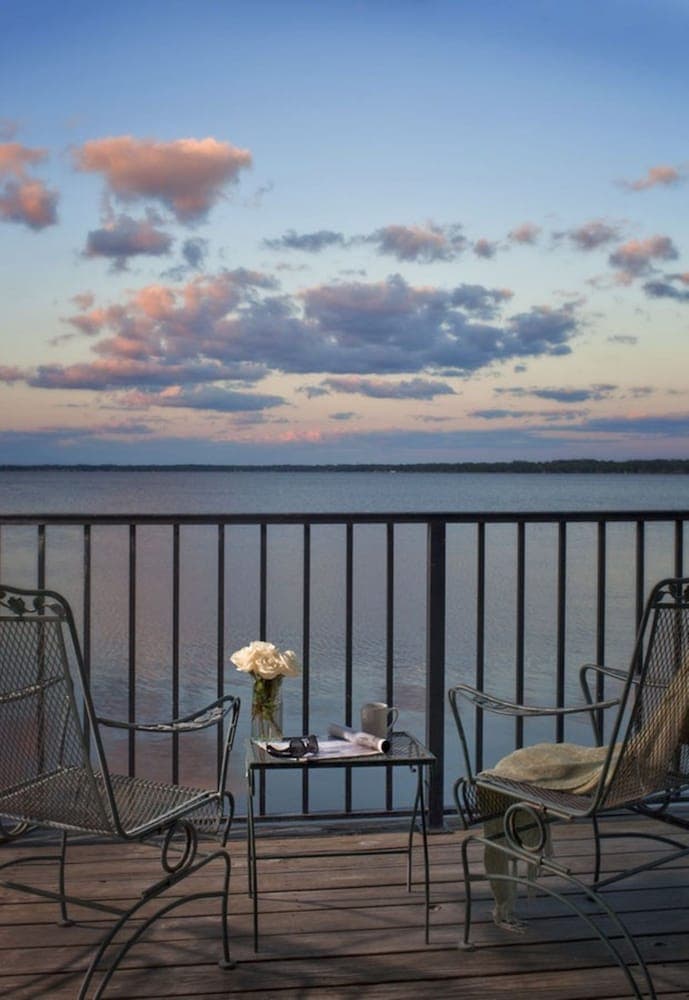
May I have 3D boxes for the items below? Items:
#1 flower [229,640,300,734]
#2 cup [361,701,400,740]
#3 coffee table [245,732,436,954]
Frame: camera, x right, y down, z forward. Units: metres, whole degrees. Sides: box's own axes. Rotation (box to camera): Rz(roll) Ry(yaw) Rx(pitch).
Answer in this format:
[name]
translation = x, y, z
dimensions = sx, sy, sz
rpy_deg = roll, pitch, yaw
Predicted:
[flower]
translation = -0.215, 0.504, 3.416
dimensions = 0.242, 0.272, 0.220
rpy_deg = 0, -4, -5
[cup]
translation = 0.102, 0.596, 3.411
dimensions = 0.127, 0.115, 0.078
rpy_deg = 3, -4, -41
[coffee table]
translation = 0.021, 0.877, 3.496
dimensions = 0.630, 0.584, 0.479
rpy_deg = 0, 1, -5
